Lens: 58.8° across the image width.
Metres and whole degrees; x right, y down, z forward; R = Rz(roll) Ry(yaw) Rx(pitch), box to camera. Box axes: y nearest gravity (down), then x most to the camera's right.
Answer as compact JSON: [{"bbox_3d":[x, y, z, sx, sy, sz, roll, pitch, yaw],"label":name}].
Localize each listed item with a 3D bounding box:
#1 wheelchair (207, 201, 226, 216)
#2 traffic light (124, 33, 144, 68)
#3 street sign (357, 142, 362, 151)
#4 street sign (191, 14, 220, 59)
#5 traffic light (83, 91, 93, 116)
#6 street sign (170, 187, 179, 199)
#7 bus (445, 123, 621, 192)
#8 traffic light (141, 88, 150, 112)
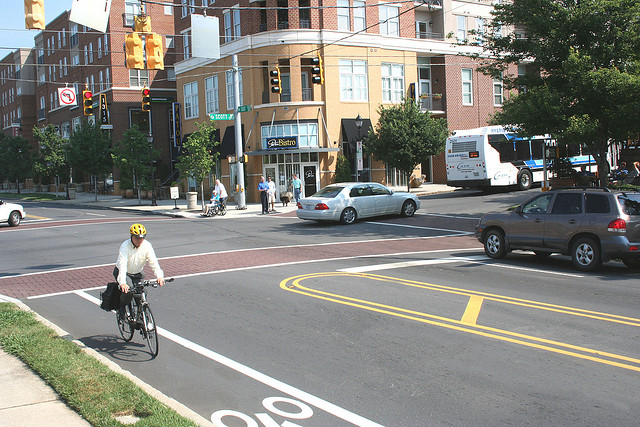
[{"bbox_3d":[-6.018,-0.253,33.635,1.083,0.696,0.567,-11,14,-23],"label":"wheelchair"},{"bbox_3d":[-5.843,-5.179,18.027,0.501,1.099,0.780,-3,3,-20],"label":"traffic light"},{"bbox_3d":[2.373,-4.086,34.622,0.235,0.482,0.758,-2,3,-6],"label":"street sign"},{"bbox_3d":[-4.875,-7.782,24.972,0.107,1.804,1.309,-5,11,25],"label":"street sign"},{"bbox_3d":[-12.967,-6.245,31.909,0.372,1.318,0.815,-3,3,-28],"label":"traffic light"},{"bbox_3d":[-9.570,-1.362,37.644,0.421,0.709,1.449,-3,3,-15],"label":"street sign"},{"bbox_3d":[15.140,-3.715,38.862,14.621,4.427,3.706,-6,4,-33],"label":"bus"},{"bbox_3d":[-8.729,-5.754,28.699,0.295,1.028,1.107,-3,3,-18],"label":"traffic light"}]
